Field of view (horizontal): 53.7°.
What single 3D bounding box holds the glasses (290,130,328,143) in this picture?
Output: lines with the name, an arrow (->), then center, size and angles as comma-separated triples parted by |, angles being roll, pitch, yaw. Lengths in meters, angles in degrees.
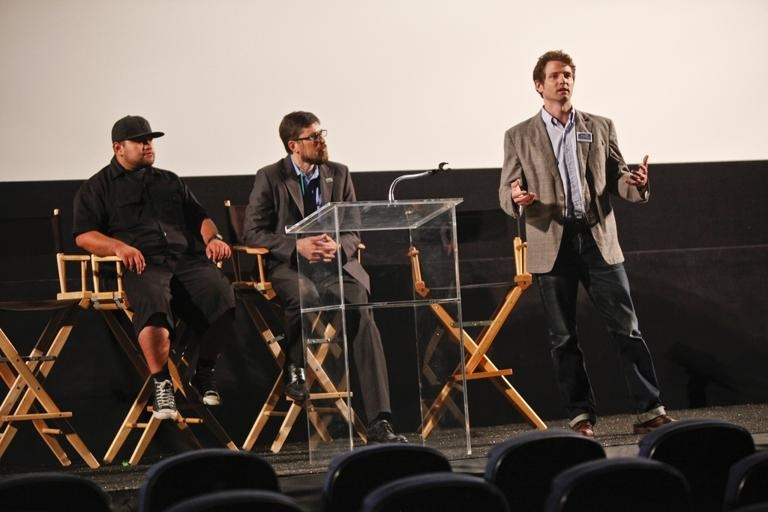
glasses -> -0.570, -0.919, 5.864 | 0.151, 0.047, 0.155 | -10, 4, 13

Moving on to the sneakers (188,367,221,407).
sneakers -> -1.311, 0.930, 5.557 | 0.151, 0.205, 0.461 | 6, 3, -28

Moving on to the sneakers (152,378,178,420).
sneakers -> -1.529, 1.001, 5.268 | 0.173, 0.300, 0.249 | -4, 1, -18

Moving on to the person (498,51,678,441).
person -> 1.321, -0.121, 5.170 | 1.009, 2.168, 0.536 | -4, 1, 9

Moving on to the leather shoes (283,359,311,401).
leather shoes -> -0.635, 0.888, 5.605 | 0.197, 0.210, 0.491 | 5, 9, -7

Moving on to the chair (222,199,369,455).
chair -> -0.620, 0.492, 5.451 | 0.945, 1.900, 0.790 | -11, -24, -1

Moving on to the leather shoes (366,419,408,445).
leather shoes -> 0.011, 1.025, 4.402 | 0.237, 0.115, 0.109 | -3, -5, 26

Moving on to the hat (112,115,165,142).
hat -> -1.907, -0.958, 5.872 | 0.324, 0.167, 0.221 | -11, 5, 7

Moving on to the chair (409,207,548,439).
chair -> 0.696, 0.585, 5.681 | 0.864, 1.512, 0.513 | -6, 6, 5

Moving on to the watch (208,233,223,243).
watch -> -1.282, -0.141, 5.764 | 0.084, 0.067, 0.097 | 0, 2, 17
